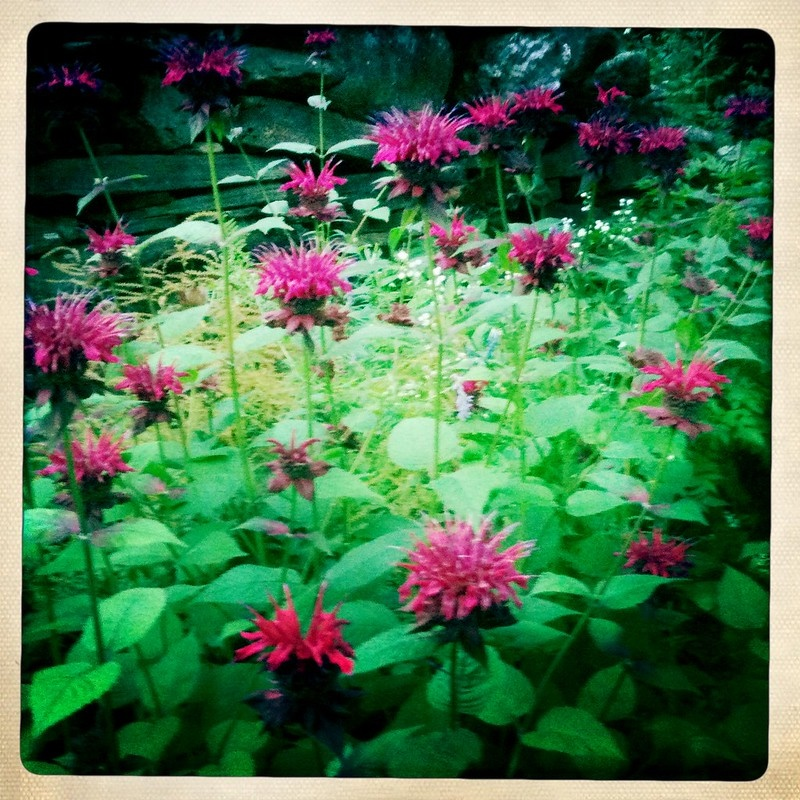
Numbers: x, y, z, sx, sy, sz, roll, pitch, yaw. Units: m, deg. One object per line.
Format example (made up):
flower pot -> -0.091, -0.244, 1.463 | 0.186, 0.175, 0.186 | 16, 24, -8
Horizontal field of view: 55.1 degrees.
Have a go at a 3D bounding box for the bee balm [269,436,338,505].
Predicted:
bee balm -> -0.186, 0.120, 1.425 | 0.115, 0.105, 0.116 | -5, 16, -5

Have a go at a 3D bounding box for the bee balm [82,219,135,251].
bee balm -> -0.576, -0.327, 1.518 | 0.074, 0.038, 0.065 | 15, 28, 16

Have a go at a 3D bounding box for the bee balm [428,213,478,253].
bee balm -> 0.103, -0.316, 1.483 | 0.092, 0.046, 0.074 | -9, 46, 14

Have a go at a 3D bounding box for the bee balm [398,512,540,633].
bee balm -> 0.109, 0.297, 1.356 | 0.239, 0.109, 0.208 | -2, 19, -1

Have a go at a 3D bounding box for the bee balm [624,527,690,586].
bee balm -> 0.503, 0.306, 1.497 | 0.133, 0.096, 0.040 | -9, 18, -21

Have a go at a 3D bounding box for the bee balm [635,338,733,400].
bee balm -> 0.523, -0.048, 1.450 | 0.162, 0.081, 0.131 | 0, 15, 9

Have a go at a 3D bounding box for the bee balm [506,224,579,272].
bee balm -> 0.275, -0.295, 1.482 | 0.123, 0.082, 0.138 | 0, 15, 10
